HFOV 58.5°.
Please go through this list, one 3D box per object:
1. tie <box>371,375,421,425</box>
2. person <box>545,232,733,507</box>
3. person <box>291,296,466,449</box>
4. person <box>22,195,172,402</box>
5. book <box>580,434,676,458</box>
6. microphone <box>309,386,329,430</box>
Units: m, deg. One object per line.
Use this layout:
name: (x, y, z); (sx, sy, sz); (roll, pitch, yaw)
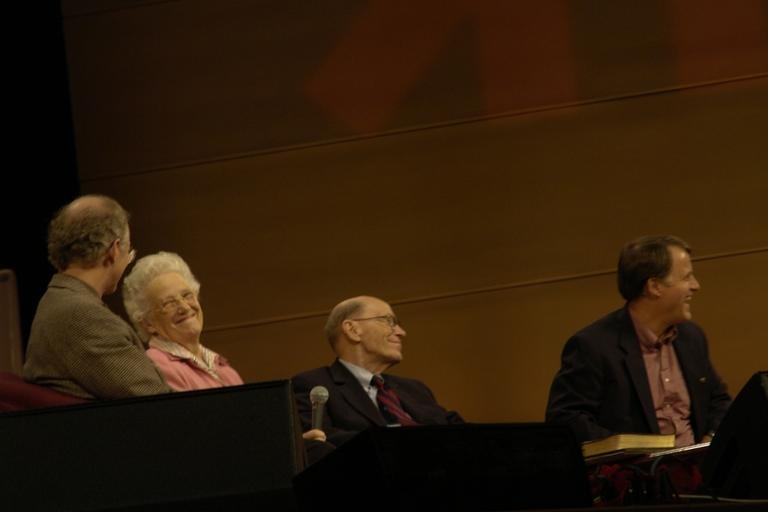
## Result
tie: (0.046, 0.724, 3.427); (0.106, 0.396, 0.120); (-36, -57, -3)
person: (1.244, 0.398, 3.341); (0.977, 1.038, 0.316); (5, -24, -12)
person: (-0.086, 0.623, 3.505); (0.950, 0.760, 0.552); (20, -45, -35)
person: (-1.072, 0.199, 2.682); (0.553, 0.888, 0.921); (3, -2, -38)
book: (0.931, 0.705, 2.579); (0.342, 0.077, 0.129); (-3, -27, 3)
microphone: (-0.295, 0.702, 3.119); (0.076, 0.227, 0.328); (2, -27, -6)
